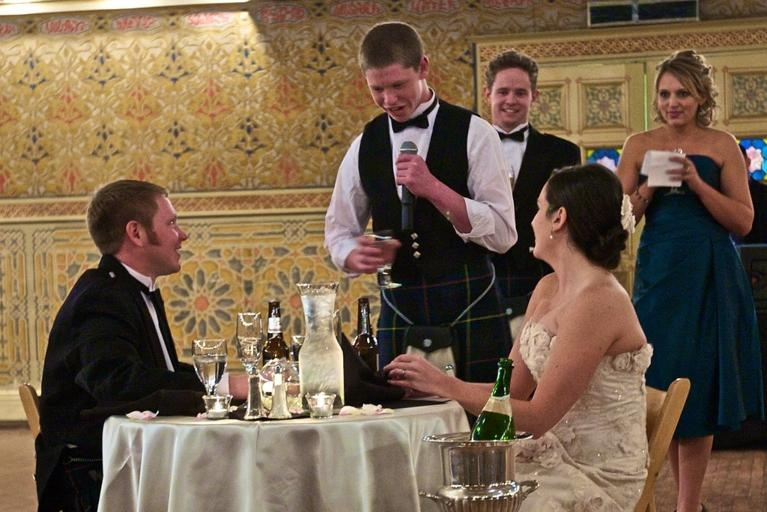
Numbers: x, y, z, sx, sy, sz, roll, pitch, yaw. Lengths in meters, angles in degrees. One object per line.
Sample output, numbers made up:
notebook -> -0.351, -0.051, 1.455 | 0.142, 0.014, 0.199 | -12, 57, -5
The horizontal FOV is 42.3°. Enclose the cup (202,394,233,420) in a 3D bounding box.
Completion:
cup -> -0.784, 0.719, 4.716 | 0.114, 0.085, 0.112 | -1, -12, 0

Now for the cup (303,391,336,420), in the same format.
cup -> -0.290, 0.709, 4.671 | 0.119, 0.080, 0.122 | -1, -9, 0

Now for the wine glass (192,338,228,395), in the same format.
wine glass -> -0.838, 0.543, 4.835 | 0.153, 0.263, 0.218 | -3, -3, -10

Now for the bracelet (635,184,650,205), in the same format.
bracelet -> 1.684, -0.401, 6.464 | 0.098, 0.092, 0.098 | -1, 2, 8

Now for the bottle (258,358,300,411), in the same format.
bottle -> -0.497, 0.634, 4.873 | 0.231, 0.240, 0.216 | -1, 0, 8

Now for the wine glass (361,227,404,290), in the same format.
wine glass -> 0.003, 0.013, 5.419 | 0.228, 0.325, 0.201 | -3, 1, -37

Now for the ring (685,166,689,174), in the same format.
ring -> 1.918, -0.537, 6.295 | 0.033, 0.041, 0.012 | -4, 8, -12
